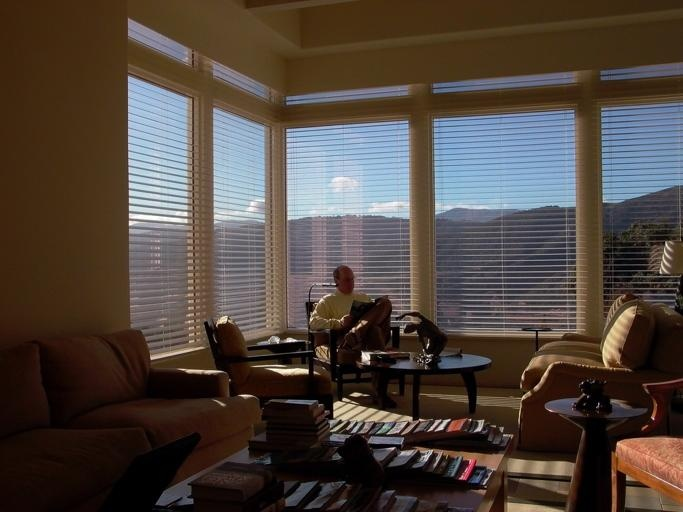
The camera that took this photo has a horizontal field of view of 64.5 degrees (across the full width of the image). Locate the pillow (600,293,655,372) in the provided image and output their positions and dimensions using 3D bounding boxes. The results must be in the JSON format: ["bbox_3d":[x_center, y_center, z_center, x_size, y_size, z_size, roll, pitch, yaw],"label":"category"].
[{"bbox_3d":[2.208,0.599,4.153,0.195,0.292,0.524,-6,6,19],"label":"pillow"}]

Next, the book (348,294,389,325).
[{"bbox_3d":[0.242,0.525,5.344,0.105,0.293,0.341,31,19,38],"label":"book"}]

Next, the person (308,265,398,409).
[{"bbox_3d":[0.188,0.752,5.571,0.793,1.295,0.884,6,-18,-36],"label":"person"}]

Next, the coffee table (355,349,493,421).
[{"bbox_3d":[0.846,0.949,4.553,0.854,0.327,0.870,-5,-7,42],"label":"coffee table"}]
